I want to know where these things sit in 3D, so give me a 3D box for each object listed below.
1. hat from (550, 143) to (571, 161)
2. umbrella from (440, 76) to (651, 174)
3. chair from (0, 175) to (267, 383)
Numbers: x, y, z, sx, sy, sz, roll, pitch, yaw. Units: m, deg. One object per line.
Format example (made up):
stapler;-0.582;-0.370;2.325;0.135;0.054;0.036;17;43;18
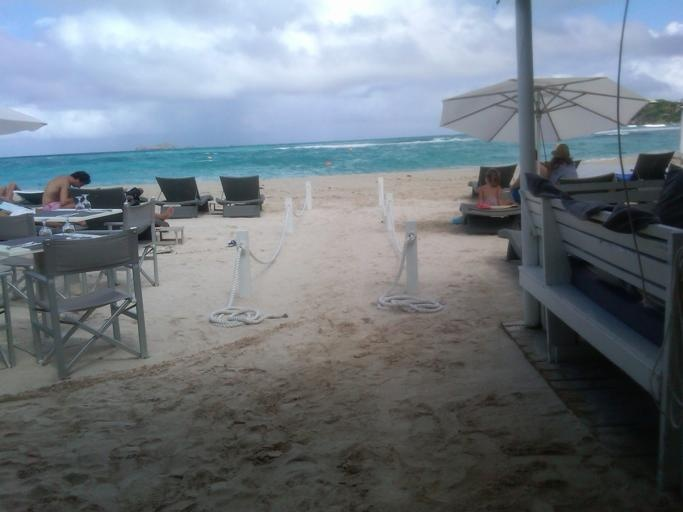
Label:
hat;3.471;-1.707;8.039;0.368;0.142;0.371;3;36;-16
umbrella;3.593;-2.514;8.945;3.233;1.148;2.108;-2;11;7
chair;-2.542;0.309;4.943;1.742;1.203;1.523;1;13;24
